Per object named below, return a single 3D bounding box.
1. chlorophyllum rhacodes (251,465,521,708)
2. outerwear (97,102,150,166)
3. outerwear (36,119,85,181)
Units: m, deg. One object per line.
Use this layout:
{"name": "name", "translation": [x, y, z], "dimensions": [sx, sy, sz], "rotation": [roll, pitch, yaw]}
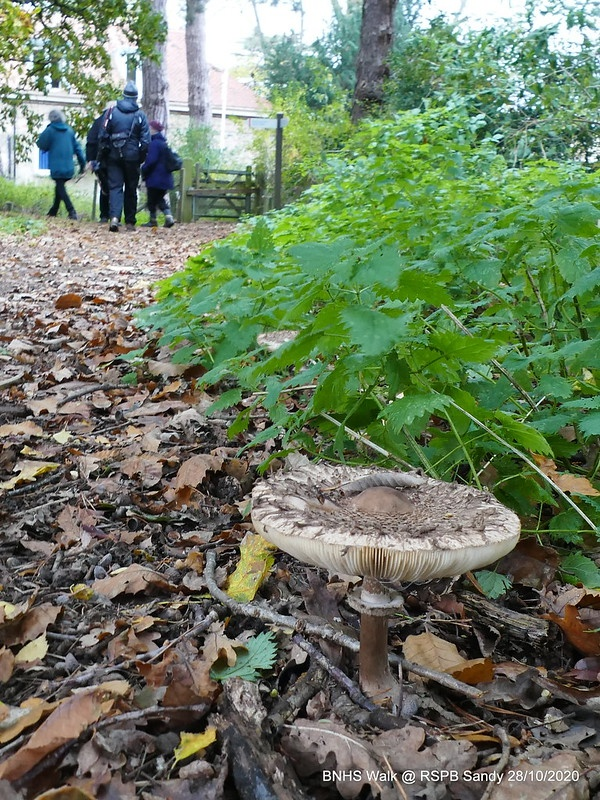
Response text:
{"name": "chlorophyllum rhacodes", "translation": [0.209, 0.335, 1.803], "dimensions": [0.679, 0.180, 0.594], "rotation": [2, 12, -4]}
{"name": "outerwear", "translation": [-3.708, -5.734, 14.230], "dimensions": [1.039, 1.311, 0.503], "rotation": [0, 15, -14]}
{"name": "outerwear", "translation": [-5.881, -5.924, 16.331], "dimensions": [1.141, 1.830, 0.720], "rotation": [-10, 27, -38]}
